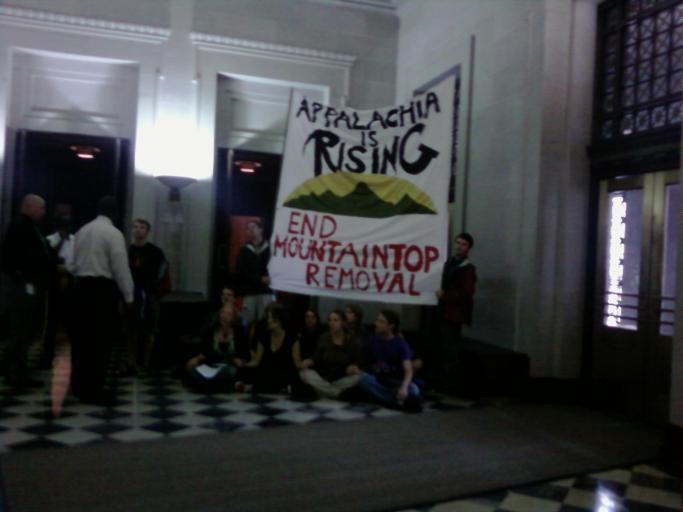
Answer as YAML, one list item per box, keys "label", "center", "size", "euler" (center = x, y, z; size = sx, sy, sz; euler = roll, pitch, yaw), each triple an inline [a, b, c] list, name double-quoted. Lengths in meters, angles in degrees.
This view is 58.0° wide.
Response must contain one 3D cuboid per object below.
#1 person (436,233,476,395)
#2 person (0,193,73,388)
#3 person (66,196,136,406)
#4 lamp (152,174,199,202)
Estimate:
- label: "person"
  center: [0.830, 0.391, 4.500]
  size: [0.240, 1.117, 0.345]
  euler: [5, 9, 10]
- label: "person"
  center: [-1.936, 0.264, 3.848]
  size: [0.312, 1.274, 0.423]
  euler: [0, 9, -25]
- label: "person"
  center: [-1.528, 0.361, 3.911]
  size: [0.363, 1.112, 0.202]
  euler: [0, 9, -21]
- label: "lamp"
  center: [-0.953, -0.393, 3.531]
  size: [0.200, 0.117, 0.188]
  euler: [1, -3, -4]
